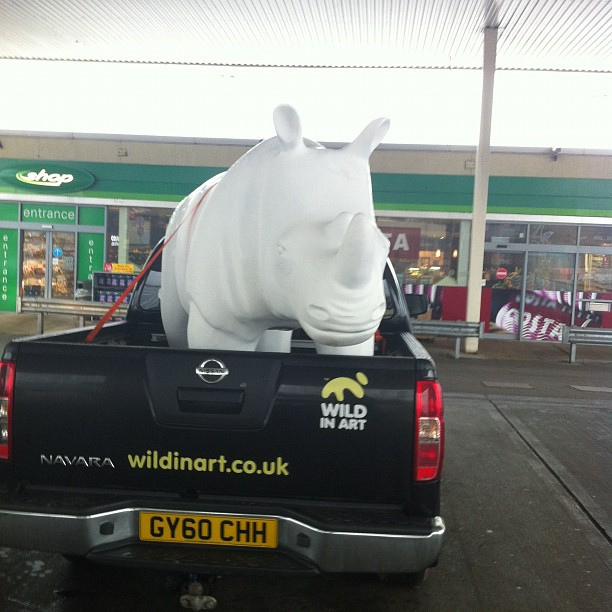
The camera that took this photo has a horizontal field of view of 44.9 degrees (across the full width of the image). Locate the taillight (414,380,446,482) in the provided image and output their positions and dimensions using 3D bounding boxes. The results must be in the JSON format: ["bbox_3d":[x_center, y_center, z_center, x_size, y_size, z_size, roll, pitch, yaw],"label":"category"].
[{"bbox_3d":[0.573,0.548,3.284,0.106,0.442,0.202,6,7,39],"label":"taillight"}]
